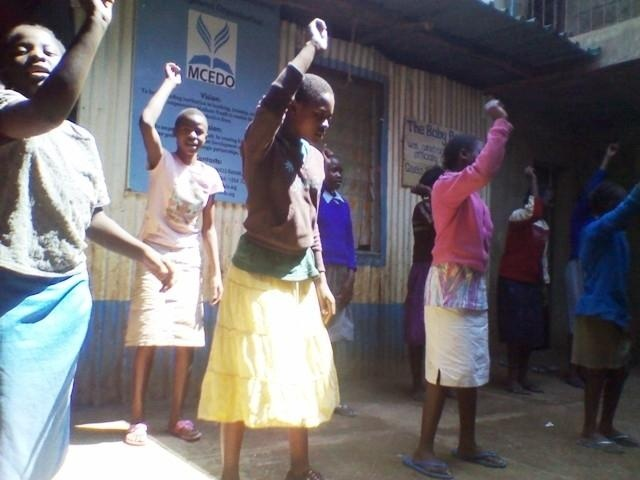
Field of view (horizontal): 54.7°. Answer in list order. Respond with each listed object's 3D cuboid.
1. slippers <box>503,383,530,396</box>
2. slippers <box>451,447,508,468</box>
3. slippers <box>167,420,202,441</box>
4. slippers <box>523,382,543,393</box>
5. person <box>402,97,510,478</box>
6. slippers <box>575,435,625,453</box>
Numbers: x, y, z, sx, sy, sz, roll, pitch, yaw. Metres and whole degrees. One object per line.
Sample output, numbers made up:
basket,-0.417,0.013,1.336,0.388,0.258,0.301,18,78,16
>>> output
slippers,2.092,1.580,6.568,0.086,0.117,0.244,-6,-4,-40
slippers,1.164,1.552,4.447,0.296,0.093,0.137,0,2,31
slippers,-1.004,1.433,4.662,0.121,0.085,0.222,4,-2,-37
slippers,2.312,1.566,6.611,0.084,0.107,0.234,-8,0,-45
person,1.003,0.317,4.418,0.645,2.584,0.633,3,2,17
slippers,2.269,1.601,4.971,0.327,0.096,0.334,4,2,24
